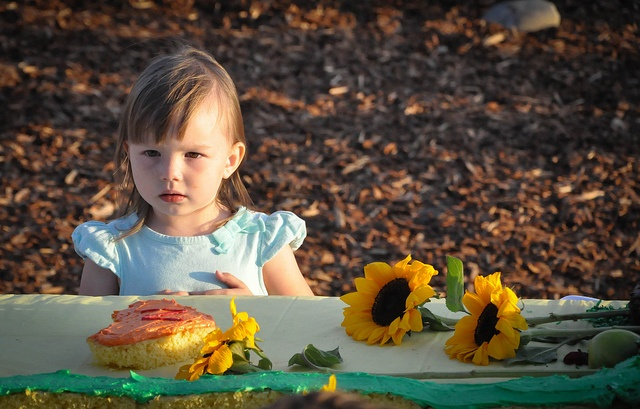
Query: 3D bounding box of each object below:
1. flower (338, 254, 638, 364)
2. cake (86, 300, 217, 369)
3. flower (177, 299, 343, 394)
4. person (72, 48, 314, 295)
[{"bbox_3d":[0.628,0.414,2.809,0.988,0.341,0.474,2,2,-6],"label":"flower"},{"bbox_3d":[-0.656,0.517,2.784,0.327,0.094,0.302,-2,14,-11],"label":"cake"},{"bbox_3d":[-0.363,0.530,2.675,0.367,0.287,0.175,2,17,-10],"label":"flower"},{"bbox_3d":[-0.614,-0.116,3.390,1.110,1.160,0.654,-1,18,-18],"label":"person"}]
